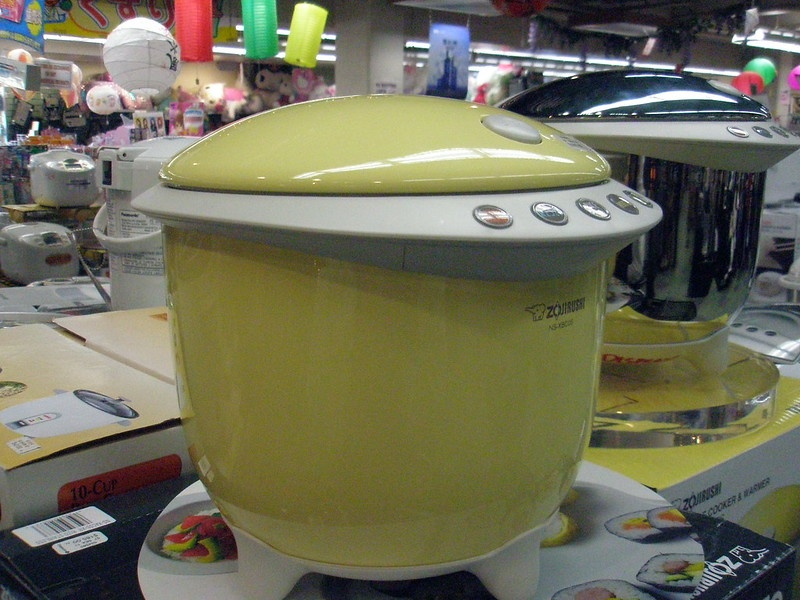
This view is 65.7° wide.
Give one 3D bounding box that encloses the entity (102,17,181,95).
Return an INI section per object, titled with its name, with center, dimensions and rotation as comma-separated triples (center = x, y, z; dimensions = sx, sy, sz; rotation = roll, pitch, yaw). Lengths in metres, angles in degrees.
[entity]
center = -0.986, -0.932, 2.343
dimensions = 0.283, 0.286, 0.239
rotation = 1, 18, 6

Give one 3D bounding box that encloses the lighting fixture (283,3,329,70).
[lighting fixture]
center = -0.688, -1.968, 4.564
dimensions = 0.296, 0.452, 0.381
rotation = -3, 18, -7
